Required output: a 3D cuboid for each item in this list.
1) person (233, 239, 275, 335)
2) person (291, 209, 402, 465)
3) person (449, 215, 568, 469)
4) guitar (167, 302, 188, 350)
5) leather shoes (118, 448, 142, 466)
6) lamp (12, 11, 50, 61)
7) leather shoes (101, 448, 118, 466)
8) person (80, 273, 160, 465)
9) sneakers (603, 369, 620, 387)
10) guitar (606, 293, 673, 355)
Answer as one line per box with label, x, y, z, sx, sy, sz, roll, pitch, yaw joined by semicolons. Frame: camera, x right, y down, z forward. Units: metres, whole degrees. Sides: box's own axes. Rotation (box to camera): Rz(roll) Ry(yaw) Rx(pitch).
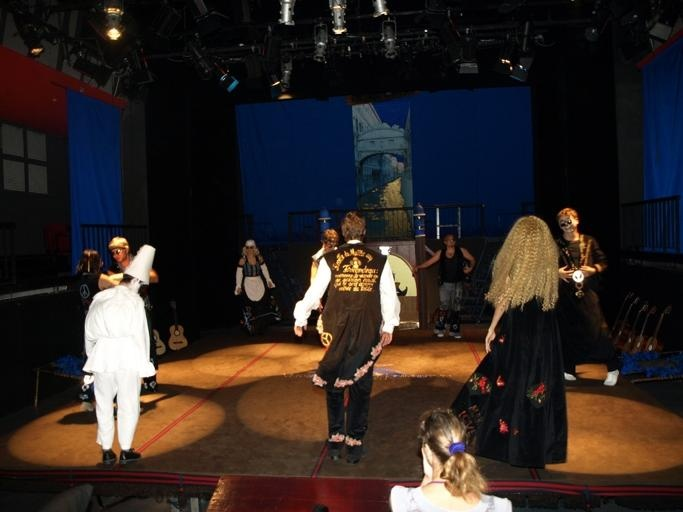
person;-1.861;0.645;12.381;0.859;1.992;0.592;-3;4;-12
person;0.100;0.916;6.585;1.137;2.843;0.516;-2;4;5
person;1.938;0.958;6.359;1.078;2.790;0.669;-1;4;18
guitar;-3.336;1.364;11.580;0.386;0.960;0.667;-4;4;-17
leather shoes;-2.471;2.309;6.624;0.110;0.136;0.284;9;2;39
lamp;-5.749;-4.087;10.521;0.485;0.782;0.465;18;47;5
leather shoes;-2.681;2.306;6.602;0.083;0.110;0.246;1;1;-2
person;-2.544;1.306;6.568;0.762;2.141;0.261;-3;4;-5
sneakers;3.986;1.743;8.389;0.143;0.136;0.330;-3;46;51
guitar;5.442;1.232;10.315;0.093;0.833;0.811;14;15;-21
